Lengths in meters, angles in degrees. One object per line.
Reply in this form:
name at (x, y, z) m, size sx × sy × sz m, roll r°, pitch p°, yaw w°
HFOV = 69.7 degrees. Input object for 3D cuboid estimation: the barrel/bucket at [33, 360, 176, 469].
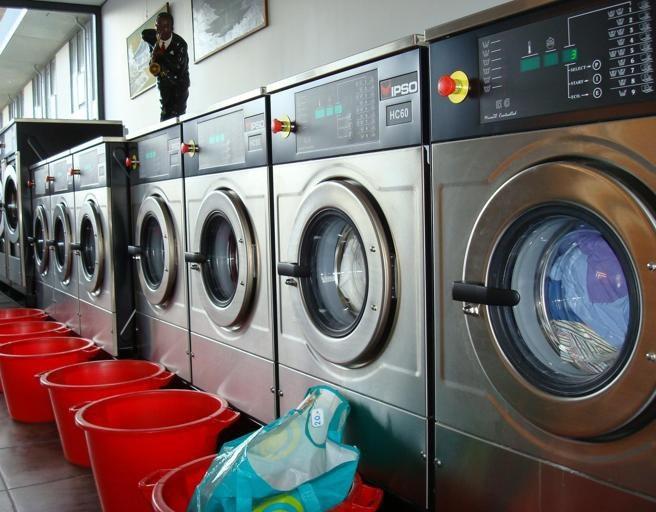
barrel/bucket at (-1.275, 0.730, 2.570) m, size 0.557 × 0.440 × 0.530 m, roll -1°, pitch 4°, yaw 0°
